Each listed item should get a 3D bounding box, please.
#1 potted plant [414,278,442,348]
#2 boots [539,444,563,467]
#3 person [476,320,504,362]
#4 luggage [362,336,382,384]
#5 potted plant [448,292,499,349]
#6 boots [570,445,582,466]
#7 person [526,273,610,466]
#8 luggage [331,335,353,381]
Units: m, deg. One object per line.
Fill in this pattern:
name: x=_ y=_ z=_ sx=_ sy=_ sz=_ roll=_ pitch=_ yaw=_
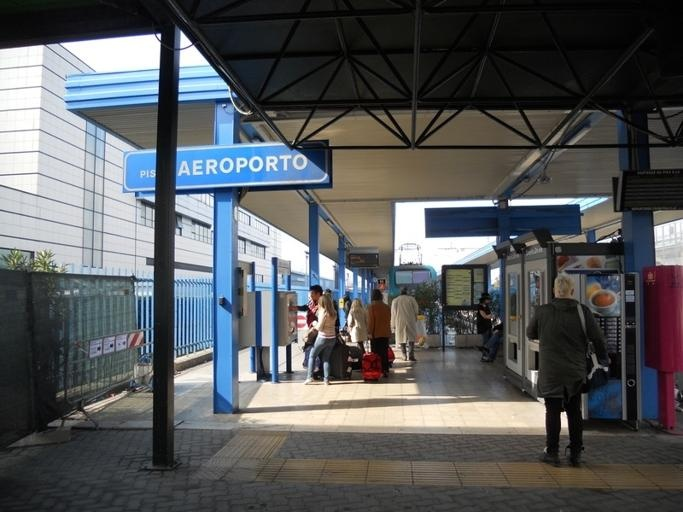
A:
potted plant: x=3.057 y=2.332 z=18.387 sx=1.105 sy=2.651 sz=1.366 roll=-5 pitch=-40 yaw=16
boots: x=2.588 y=2.494 z=6.552 sx=0.120 sy=0.153 sz=0.345 roll=0 pitch=-6 yaw=7
person: x=3.989 y=2.249 z=13.994 sx=0.502 sy=1.018 sz=0.735 roll=1 pitch=3 yaw=17
luggage: x=0.639 y=2.307 z=11.518 sx=0.398 sy=0.920 sz=0.480 roll=-6 pitch=-17 yaw=16
potted plant: x=3.973 y=1.994 z=16.084 sx=1.751 sy=1.844 sz=0.654 roll=0 pitch=-6 yaw=0
boots: x=2.882 y=2.479 z=6.510 sx=0.107 sy=0.250 sz=0.251 roll=0 pitch=4 yaw=10
person: x=2.832 y=1.417 z=6.667 sx=0.912 sy=2.320 sz=0.514 roll=1 pitch=3 yaw=21
luggage: x=-0.032 y=2.208 z=11.345 sx=0.430 sy=1.057 sz=0.681 roll=0 pitch=3 yaw=-2
